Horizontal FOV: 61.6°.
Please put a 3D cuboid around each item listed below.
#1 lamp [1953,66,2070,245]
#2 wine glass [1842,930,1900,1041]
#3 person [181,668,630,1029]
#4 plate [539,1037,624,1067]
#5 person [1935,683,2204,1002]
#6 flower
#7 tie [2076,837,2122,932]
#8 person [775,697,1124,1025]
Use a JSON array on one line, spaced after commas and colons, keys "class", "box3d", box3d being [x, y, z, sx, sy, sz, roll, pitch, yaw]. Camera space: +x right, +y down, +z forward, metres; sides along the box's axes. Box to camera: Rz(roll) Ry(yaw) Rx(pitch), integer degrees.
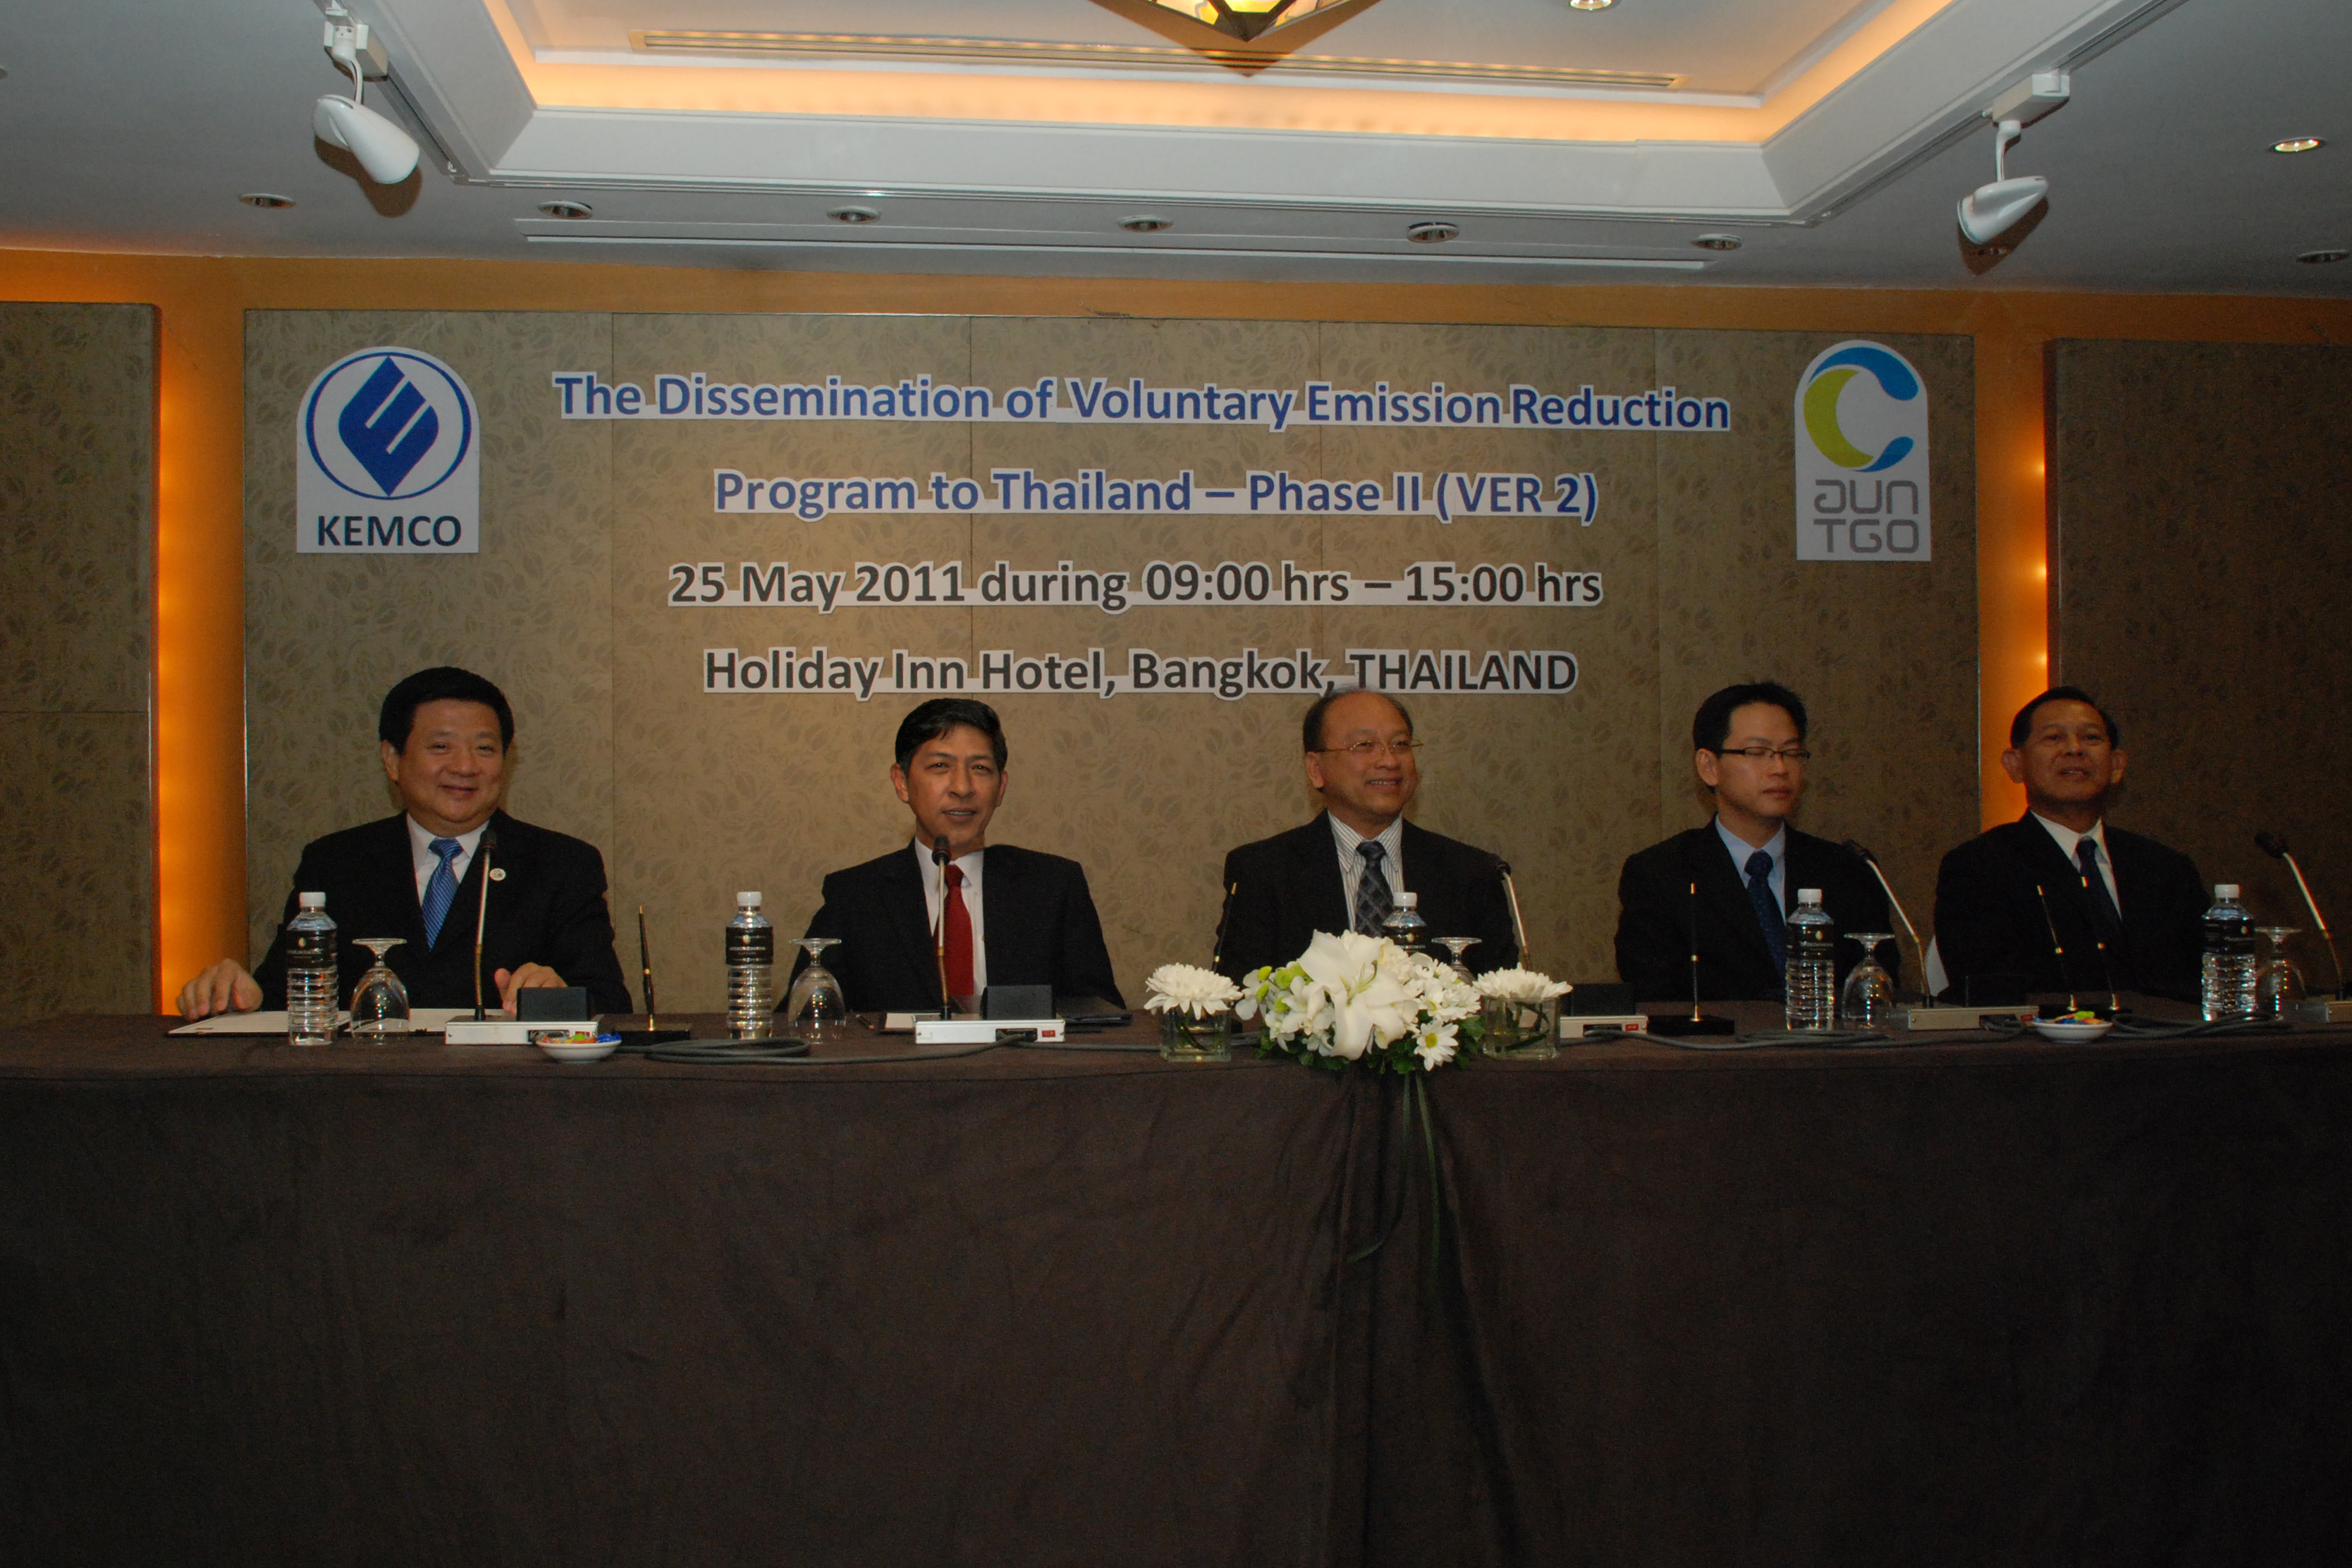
[{"class": "lamp", "box3d": [2.569, -1.889, 6.057, 0.333, 0.441, 0.568, -2, -6, 1]}, {"class": "wine glass", "box3d": [1.755, 0.507, 4.995, 0.139, 0.248, 0.323, -4, -6, 18]}, {"class": "person", "box3d": [-2.548, 0.213, 6.320, 1.036, 1.294, 0.746, 1, -20, -10]}, {"class": "plate", "box3d": [-1.411, 0.627, 4.625, 0.212, 0.057, 0.141, -2, -6, 2]}, {"class": "person", "box3d": [2.849, 0.188, 6.413, 0.896, 0.987, 0.480, 0, -6, -24]}, {"class": "flower", "box3d": [0.409, 0.518, 4.588, 0.638, 0.207, 0.435, -1, 0, -13]}, {"class": "tie", "box3d": [3.001, 0.329, 6.418, 0.067, 0.386, 0.052, -12, -20, 3]}, {"class": "person", "box3d": [-0.785, 0.265, 6.364, 0.967, 1.574, 0.592, -1, -24, -5]}]
